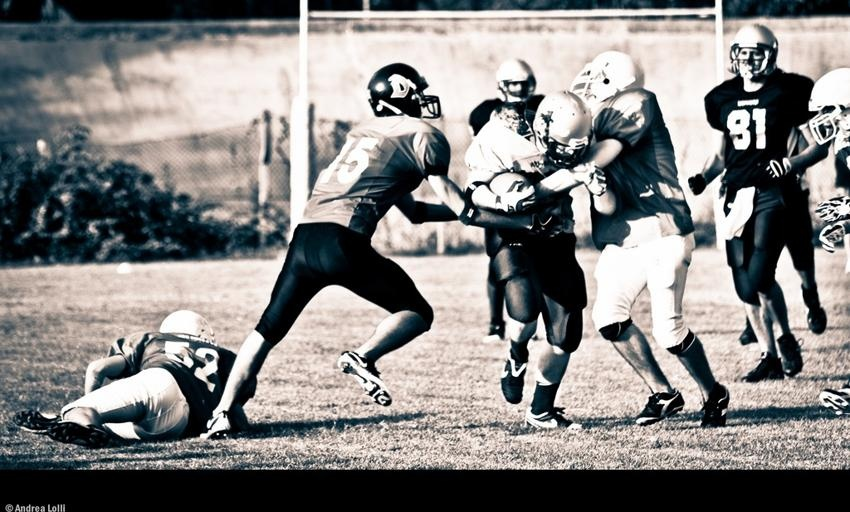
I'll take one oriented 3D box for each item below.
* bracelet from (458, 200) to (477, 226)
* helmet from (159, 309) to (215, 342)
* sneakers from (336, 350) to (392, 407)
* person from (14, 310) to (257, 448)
[{"bbox_3d":[0.393,-0.395,10.749,0.093,0.211,0.166,32,7,-18],"label":"bracelet"},{"bbox_3d":[-2.305,0.689,11.146,0.436,0.331,0.307,-21,2,-19],"label":"helmet"},{"bbox_3d":[-0.615,1.205,11.170,0.304,0.582,0.194,-33,-14,-49],"label":"sneakers"},{"bbox_3d":[-2.745,1.210,11.066,1.400,0.825,2.249,14,14,21],"label":"person"}]
